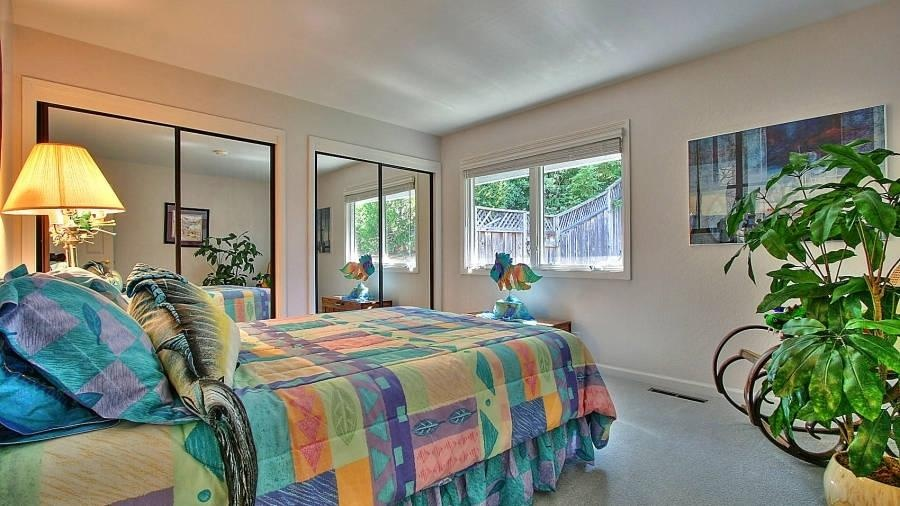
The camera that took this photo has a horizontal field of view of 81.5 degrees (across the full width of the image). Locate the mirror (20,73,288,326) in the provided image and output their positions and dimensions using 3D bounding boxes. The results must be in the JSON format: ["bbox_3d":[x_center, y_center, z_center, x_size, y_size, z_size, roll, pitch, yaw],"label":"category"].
[{"bbox_3d":[-2.690,-0.546,4.646,2.607,2.650,0.103,2,-4,-31],"label":"mirror"}]

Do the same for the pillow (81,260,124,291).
[{"bbox_3d":[-2.701,0.165,4.038,0.225,0.101,0.169,31,3,-4],"label":"pillow"}]

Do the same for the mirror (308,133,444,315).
[{"bbox_3d":[-0.975,-0.359,6.354,2.340,2.881,0.116,4,-7,-43],"label":"mirror"}]

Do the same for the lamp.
[{"bbox_3d":[-2.998,-0.360,4.121,0.698,0.983,0.919,-2,1,-31],"label":"lamp"}]

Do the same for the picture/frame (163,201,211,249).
[{"bbox_3d":[-2.687,-0.293,5.288,0.515,0.546,0.039,1,-7,-40],"label":"picture/frame"}]
